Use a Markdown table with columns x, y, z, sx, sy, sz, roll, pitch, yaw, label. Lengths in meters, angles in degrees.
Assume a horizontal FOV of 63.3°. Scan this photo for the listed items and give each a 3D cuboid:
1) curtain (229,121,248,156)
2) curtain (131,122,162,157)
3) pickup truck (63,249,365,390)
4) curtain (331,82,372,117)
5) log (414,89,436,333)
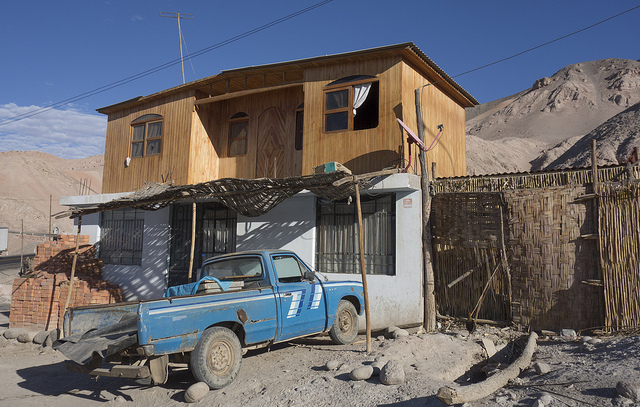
| x | y | z | sx | sy | sz | roll | pitch | yaw | label |
| --- | --- | --- | --- | --- | --- | --- | --- | --- | --- |
| -3.290 | -2.620 | 21.024 | 0.885 | 1.266 | 0.395 | 0 | 10 | 29 | curtain |
| -7.384 | -2.716 | 21.969 | 0.085 | 1.500 | 1.979 | 17 | 19 | 21 | curtain |
| -1.856 | 2.568 | 13.856 | 3.413 | 2.472 | 6.800 | -5 | -3 | 39 | pickup truck |
| 1.129 | -3.565 | 18.082 | 1.346 | 1.081 | 0.390 | -4 | 9 | 2 | curtain |
| 3.316 | 0.991 | 16.149 | 0.353 | 5.601 | 1.459 | -2 | 9 | 15 | log |
